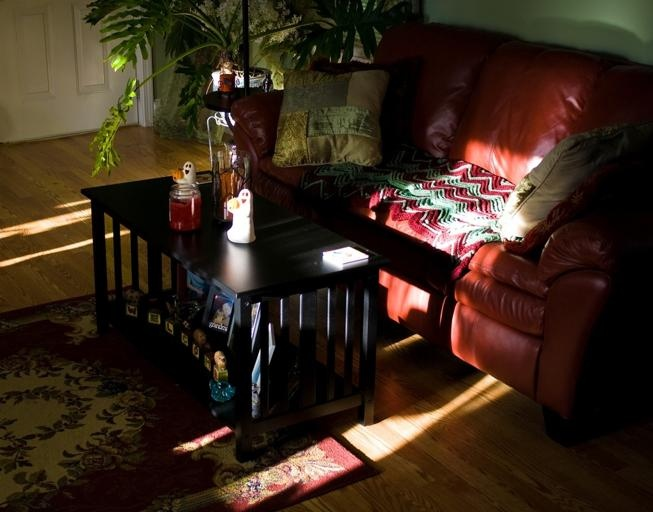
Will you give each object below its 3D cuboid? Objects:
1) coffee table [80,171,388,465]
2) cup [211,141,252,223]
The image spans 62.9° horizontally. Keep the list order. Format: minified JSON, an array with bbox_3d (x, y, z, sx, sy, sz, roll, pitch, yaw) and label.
[{"bbox_3d":[-0.306,0.230,1.806,0.392,0.414,0.822,-11,27,-30],"label":"coffee table"},{"bbox_3d":[-0.347,-0.254,1.969,0.135,0.246,0.135,0,1,0],"label":"cup"}]
